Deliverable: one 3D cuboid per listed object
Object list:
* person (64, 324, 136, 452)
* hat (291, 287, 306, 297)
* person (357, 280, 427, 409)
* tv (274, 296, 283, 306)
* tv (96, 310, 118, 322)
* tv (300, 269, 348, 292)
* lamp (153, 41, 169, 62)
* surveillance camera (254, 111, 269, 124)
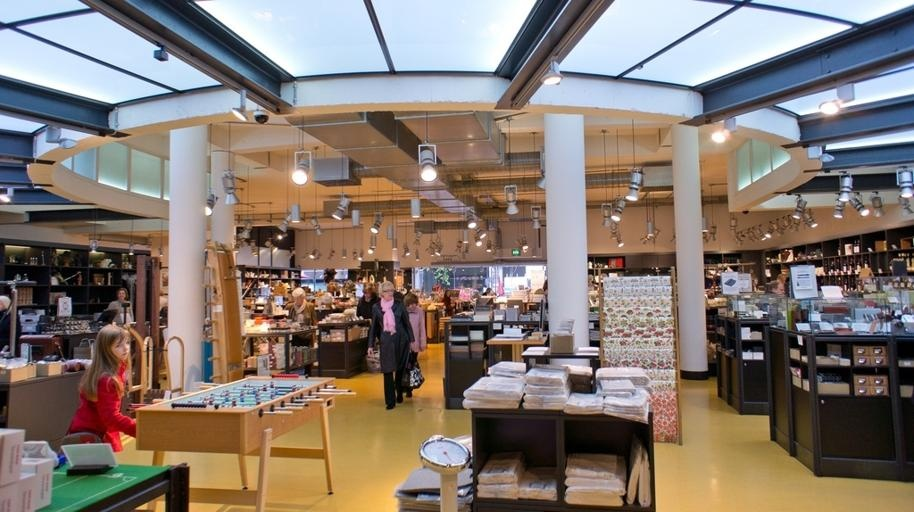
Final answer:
[{"bbox_3d":[-4.892,1.831,8.739,0.813,1.741,0.598,1,-7,-25],"label":"person"},{"bbox_3d":[-4.150,0.929,16.508,0.309,0.234,0.321,6,-15,6],"label":"hat"},{"bbox_3d":[-1.294,1.815,13.138,1.053,2.570,0.878,-2,-6,-4],"label":"person"},{"bbox_3d":[-5.052,1.262,17.875,0.314,0.258,0.503,-8,3,-11],"label":"tv"},{"bbox_3d":[-8.369,1.446,15.124,0.186,0.225,0.253,42,30,27],"label":"tv"},{"bbox_3d":[-5.643,1.038,26.980,1.210,0.699,0.578,0,-13,-2],"label":"tv"},{"bbox_3d":[-4.059,-2.816,8.664,0.174,0.287,0.160,-10,41,-25],"label":"lamp"},{"bbox_3d":[-3.081,-2.196,9.951,0.189,0.120,0.175,-2,-21,-4],"label":"surveillance camera"}]
